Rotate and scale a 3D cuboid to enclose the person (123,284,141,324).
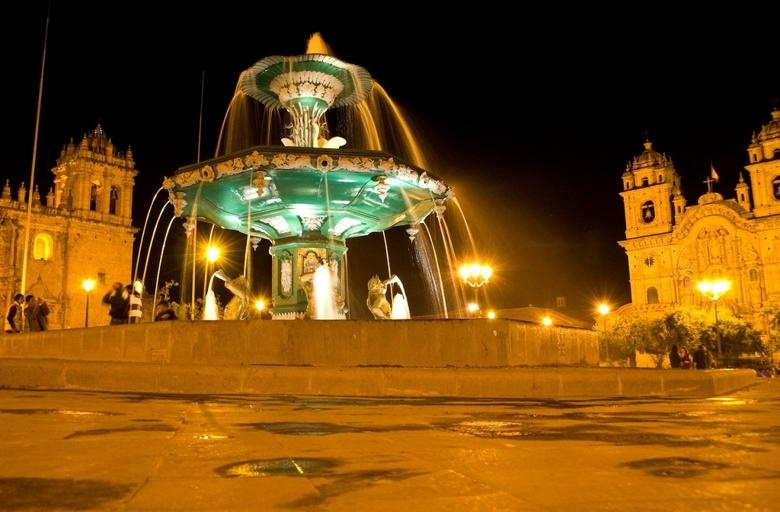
[{"bbox_3d":[-5.661,1.035,15.125,0.318,0.925,0.742,4,-15,-22],"label":"person"}]
